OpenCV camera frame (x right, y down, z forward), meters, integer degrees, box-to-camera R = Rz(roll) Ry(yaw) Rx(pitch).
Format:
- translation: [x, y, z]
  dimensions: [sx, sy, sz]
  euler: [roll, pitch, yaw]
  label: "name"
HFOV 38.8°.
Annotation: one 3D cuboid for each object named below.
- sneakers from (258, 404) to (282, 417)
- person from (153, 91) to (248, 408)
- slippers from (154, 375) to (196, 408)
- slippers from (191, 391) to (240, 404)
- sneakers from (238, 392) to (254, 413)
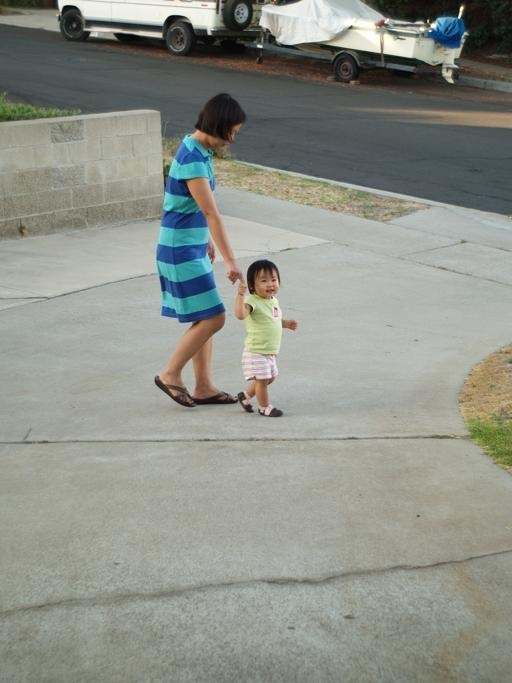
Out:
- translation: [0.081, 0.391, 4.177]
  dimensions: [0.123, 0.043, 0.063]
  euler: [4, 16, 20]
  label: "sneakers"
- translation: [-0.328, -0.422, 3.983]
  dimensions: [0.554, 1.783, 0.578]
  euler: [-1, 22, -1]
  label: "person"
- translation: [-0.452, 0.294, 4.155]
  dimensions: [0.080, 0.257, 0.126]
  euler: [-49, 21, 13]
  label: "slippers"
- translation: [-0.244, 0.324, 4.337]
  dimensions: [0.253, 0.060, 0.085]
  euler: [-1, 7, -14]
  label: "slippers"
- translation: [-0.058, 0.354, 4.303]
  dimensions: [0.057, 0.129, 0.074]
  euler: [-22, 27, 13]
  label: "sneakers"
